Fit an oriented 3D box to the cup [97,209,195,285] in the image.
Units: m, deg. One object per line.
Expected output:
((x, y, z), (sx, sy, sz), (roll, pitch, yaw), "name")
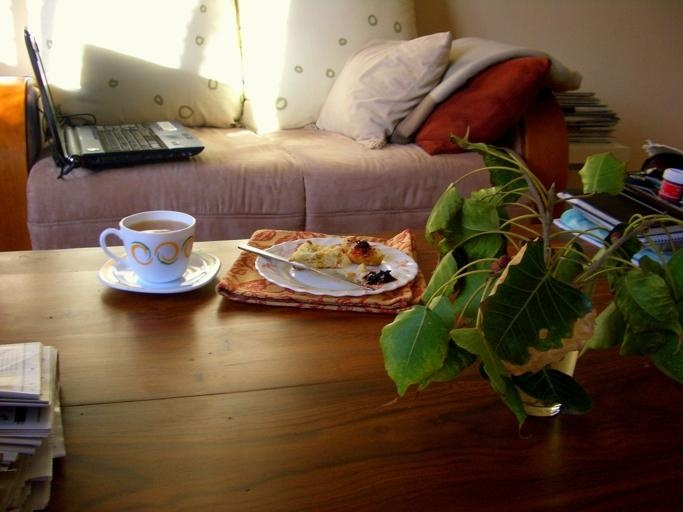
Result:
((-0.317, -0.009, 0.800), (0.148, 0.079, 0.102), (0, 19, -10), "cup")
